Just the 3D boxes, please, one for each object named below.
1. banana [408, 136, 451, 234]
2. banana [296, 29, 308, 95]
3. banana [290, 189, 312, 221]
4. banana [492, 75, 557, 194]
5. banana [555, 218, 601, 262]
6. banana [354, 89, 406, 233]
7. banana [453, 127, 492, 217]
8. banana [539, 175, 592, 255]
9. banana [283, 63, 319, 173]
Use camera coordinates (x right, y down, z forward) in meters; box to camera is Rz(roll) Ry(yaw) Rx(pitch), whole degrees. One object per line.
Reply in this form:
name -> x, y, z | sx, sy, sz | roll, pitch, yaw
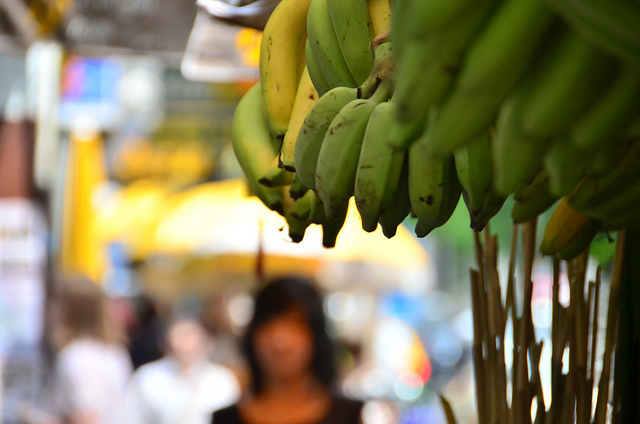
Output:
banana -> 0.367, -0.087, 3.625 | 0.114, 0.093, 0.383 | -3, 87, 6
banana -> -0.062, -0.521, 3.810 | 0.036, 0.065, 0.209 | 4, 85, -5
banana -> -0.058, -0.013, 3.780 | 0.037, 0.049, 0.147 | 24, 85, -2
banana -> 0.655, -0.205, 3.668 | 0.138, 0.136, 0.487 | 19, 90, 7
banana -> 0.890, 0.092, 3.787 | 0.035, 0.048, 0.140 | 38, 85, -25
banana -> 0.219, -0.142, 3.757 | 0.152, 0.125, 0.505 | 13, 86, 15
banana -> 0.516, -0.140, 3.669 | 0.099, 0.079, 0.335 | 1, 87, 29
banana -> 0.860, 0.039, 3.825 | 0.361, 0.110, 0.112 | -48, 119, -28
banana -> -0.072, -0.318, 3.816 | 0.106, 0.092, 0.366 | 22, 80, -18
